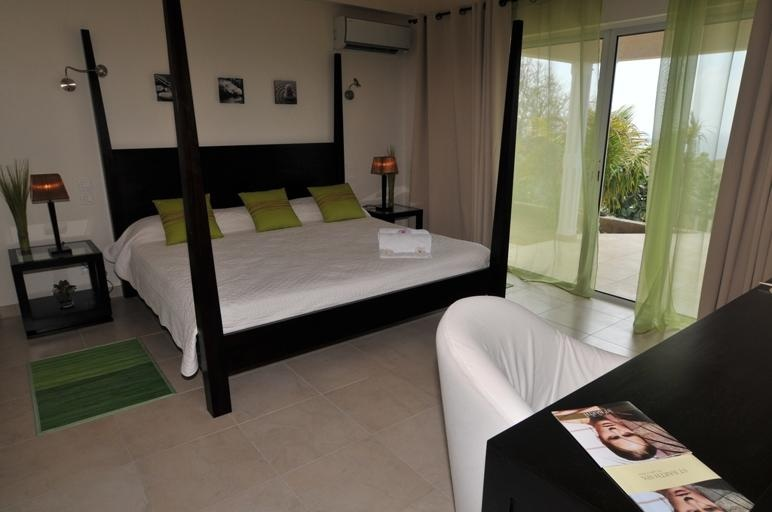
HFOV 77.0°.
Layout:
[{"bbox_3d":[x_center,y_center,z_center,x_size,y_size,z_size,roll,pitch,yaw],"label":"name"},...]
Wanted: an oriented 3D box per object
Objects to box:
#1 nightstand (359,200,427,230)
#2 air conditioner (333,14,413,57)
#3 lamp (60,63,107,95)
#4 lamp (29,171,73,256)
[{"bbox_3d":[0.087,-0.555,6.083,0.464,0.451,0.455,-12,19,-36],"label":"nightstand"},{"bbox_3d":[-0.158,-2.667,5.900,0.989,0.319,0.296,-11,26,-36],"label":"air conditioner"},{"bbox_3d":[-2.848,-1.672,4.514,0.478,0.195,0.204,-16,-21,-31],"label":"lamp"},{"bbox_3d":[-3.044,-0.413,4.469,0.288,0.699,0.453,-16,22,-32],"label":"lamp"}]
